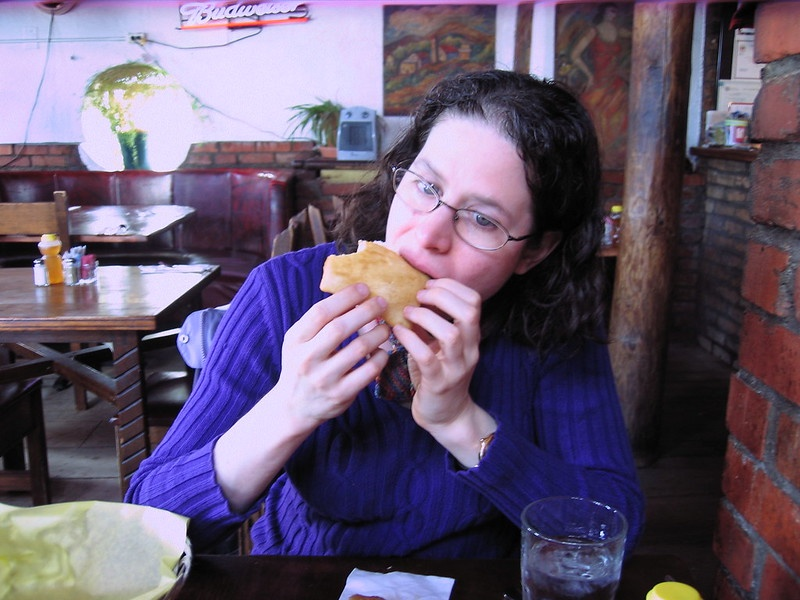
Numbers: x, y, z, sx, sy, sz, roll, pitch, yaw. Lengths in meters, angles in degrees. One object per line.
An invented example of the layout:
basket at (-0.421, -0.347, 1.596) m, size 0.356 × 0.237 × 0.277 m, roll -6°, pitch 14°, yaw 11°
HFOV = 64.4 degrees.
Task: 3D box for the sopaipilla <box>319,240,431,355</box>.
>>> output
sopaipilla at (-0.043, -0.009, 1.220) m, size 0.171 × 0.043 × 0.166 m, roll 36°, pitch 41°, yaw 5°

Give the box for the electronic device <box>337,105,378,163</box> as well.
electronic device at (-0.270, -1.247, 4.770) m, size 0.331 × 0.379 × 0.255 m, roll 10°, pitch 17°, yaw 26°

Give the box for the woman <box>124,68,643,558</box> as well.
woman at (-0.008, 0.042, 1.317) m, size 1.044 × 1.027 × 0.481 m, roll -4°, pitch 10°, yaw -8°

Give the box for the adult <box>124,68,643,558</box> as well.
adult at (-0.007, 0.042, 1.317) m, size 1.043 × 1.027 × 0.481 m, roll -4°, pitch 10°, yaw -8°

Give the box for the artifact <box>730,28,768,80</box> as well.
artifact at (2.281, -1.631, 4.186) m, size 0.158 × 0.374 × 0.402 m, roll 2°, pitch 10°, yaw 27°

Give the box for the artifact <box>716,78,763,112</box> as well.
artifact at (2.232, -1.350, 4.163) m, size 0.275 × 0.201 × 0.075 m, roll -2°, pitch 10°, yaw 1°

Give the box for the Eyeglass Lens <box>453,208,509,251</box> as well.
Eyeglass Lens at (0.162, -0.135, 1.224) m, size 0.120 × 0.084 × 0.026 m, roll -5°, pitch 10°, yaw -20°

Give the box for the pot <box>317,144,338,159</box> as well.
pot at (-0.556, -1.140, 4.879) m, size 0.157 × 0.080 × 0.130 m, roll 2°, pitch 10°, yaw 4°
